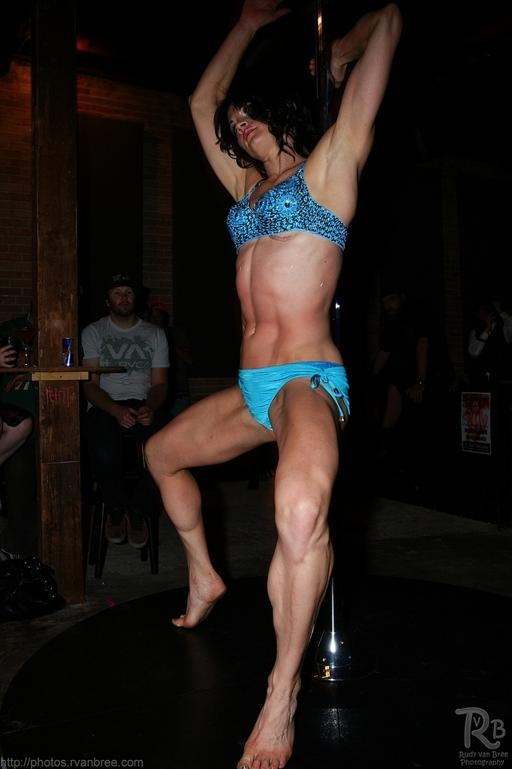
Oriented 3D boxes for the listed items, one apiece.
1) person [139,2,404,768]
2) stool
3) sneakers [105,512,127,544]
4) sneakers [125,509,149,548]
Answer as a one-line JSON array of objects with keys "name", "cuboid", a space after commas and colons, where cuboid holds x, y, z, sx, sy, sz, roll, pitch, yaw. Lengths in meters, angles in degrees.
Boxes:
[{"name": "person", "cuboid": [0.006, -0.255, 1.737, 0.529, 1.964, 0.936, -2, -5, -15]}, {"name": "stool", "cuboid": [-0.699, 0.776, 3.642, 0.468, 0.656, 0.499, 3, -19, -10]}, {"name": "sneakers", "cuboid": [-0.684, 0.717, 3.359, 0.070, 0.184, 0.074, -4, 12, -18]}, {"name": "sneakers", "cuboid": [-0.592, 0.730, 3.452, 0.078, 0.203, 0.081, -15, 18, -28]}]
